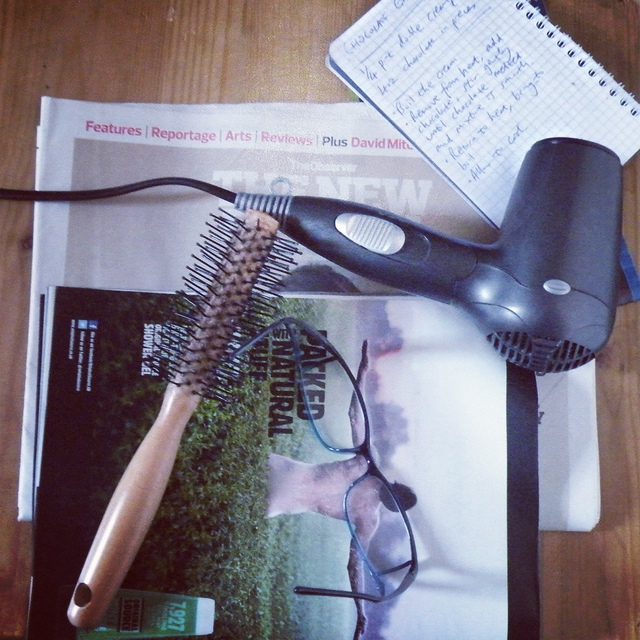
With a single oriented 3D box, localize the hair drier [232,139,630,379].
[{"bbox_3d":[0.076,-0.050,0.624,0.105,0.276,0.152,-10,102,-44],"label":"hair drier"}]
